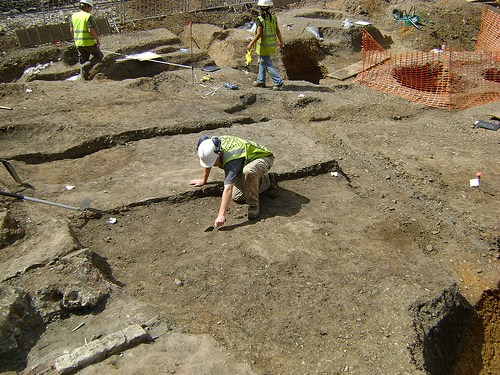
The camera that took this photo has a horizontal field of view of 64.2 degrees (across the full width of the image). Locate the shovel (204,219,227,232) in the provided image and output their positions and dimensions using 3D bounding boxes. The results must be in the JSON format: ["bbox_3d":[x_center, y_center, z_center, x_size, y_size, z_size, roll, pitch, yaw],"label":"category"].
[{"bbox_3d":[-0.417,0.469,4.788,0.392,0.105,0.053,-22,36,45],"label":"shovel"}]

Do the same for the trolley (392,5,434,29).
[{"bbox_3d":[4.132,-4.368,10.147,0.511,0.413,1.038,-16,35,-18],"label":"trolley"}]

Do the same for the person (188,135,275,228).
[{"bbox_3d":[-0.081,-0.062,5.046,1.305,1.091,1.057,6,25,-9],"label":"person"}]
